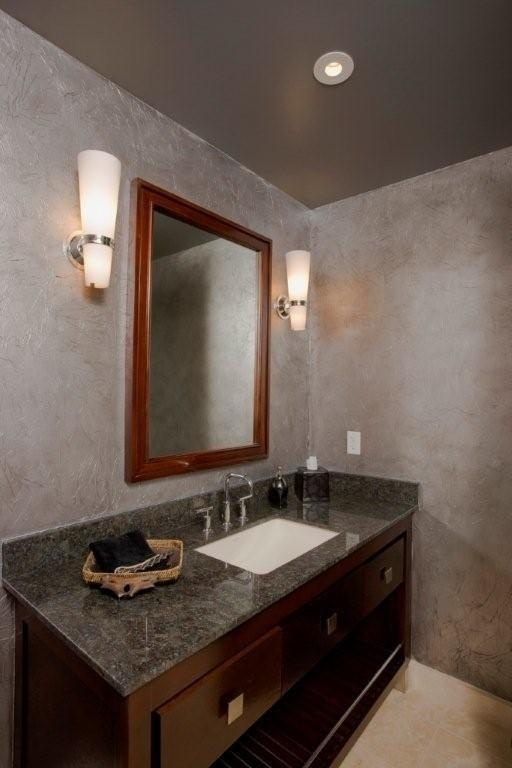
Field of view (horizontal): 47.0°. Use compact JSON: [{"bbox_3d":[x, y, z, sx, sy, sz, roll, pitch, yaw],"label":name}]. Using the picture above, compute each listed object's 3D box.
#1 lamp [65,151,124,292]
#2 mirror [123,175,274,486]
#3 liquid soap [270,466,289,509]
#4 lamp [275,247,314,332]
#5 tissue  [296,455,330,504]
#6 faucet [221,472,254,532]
[{"bbox_3d":[-0.449,-0.441,1.604,0.132,0.364,0.152,0,10,-22],"label":"lamp"},{"bbox_3d":[-0.163,-0.169,2.049,0.148,0.940,0.809,10,11,35],"label":"mirror"},{"bbox_3d":[0.085,0.399,2.249,0.100,0.215,0.113,0,-10,1],"label":"liquid soap"},{"bbox_3d":[0.158,-0.389,2.480,0.133,0.343,0.218,6,9,15],"label":"lamp"},{"bbox_3d":[0.225,0.389,2.443,0.134,0.240,0.145,0,0,-22],"label":"tissue "},{"bbox_3d":[-0.082,0.384,1.981,0.079,0.190,0.119,-1,11,35],"label":"faucet"}]
